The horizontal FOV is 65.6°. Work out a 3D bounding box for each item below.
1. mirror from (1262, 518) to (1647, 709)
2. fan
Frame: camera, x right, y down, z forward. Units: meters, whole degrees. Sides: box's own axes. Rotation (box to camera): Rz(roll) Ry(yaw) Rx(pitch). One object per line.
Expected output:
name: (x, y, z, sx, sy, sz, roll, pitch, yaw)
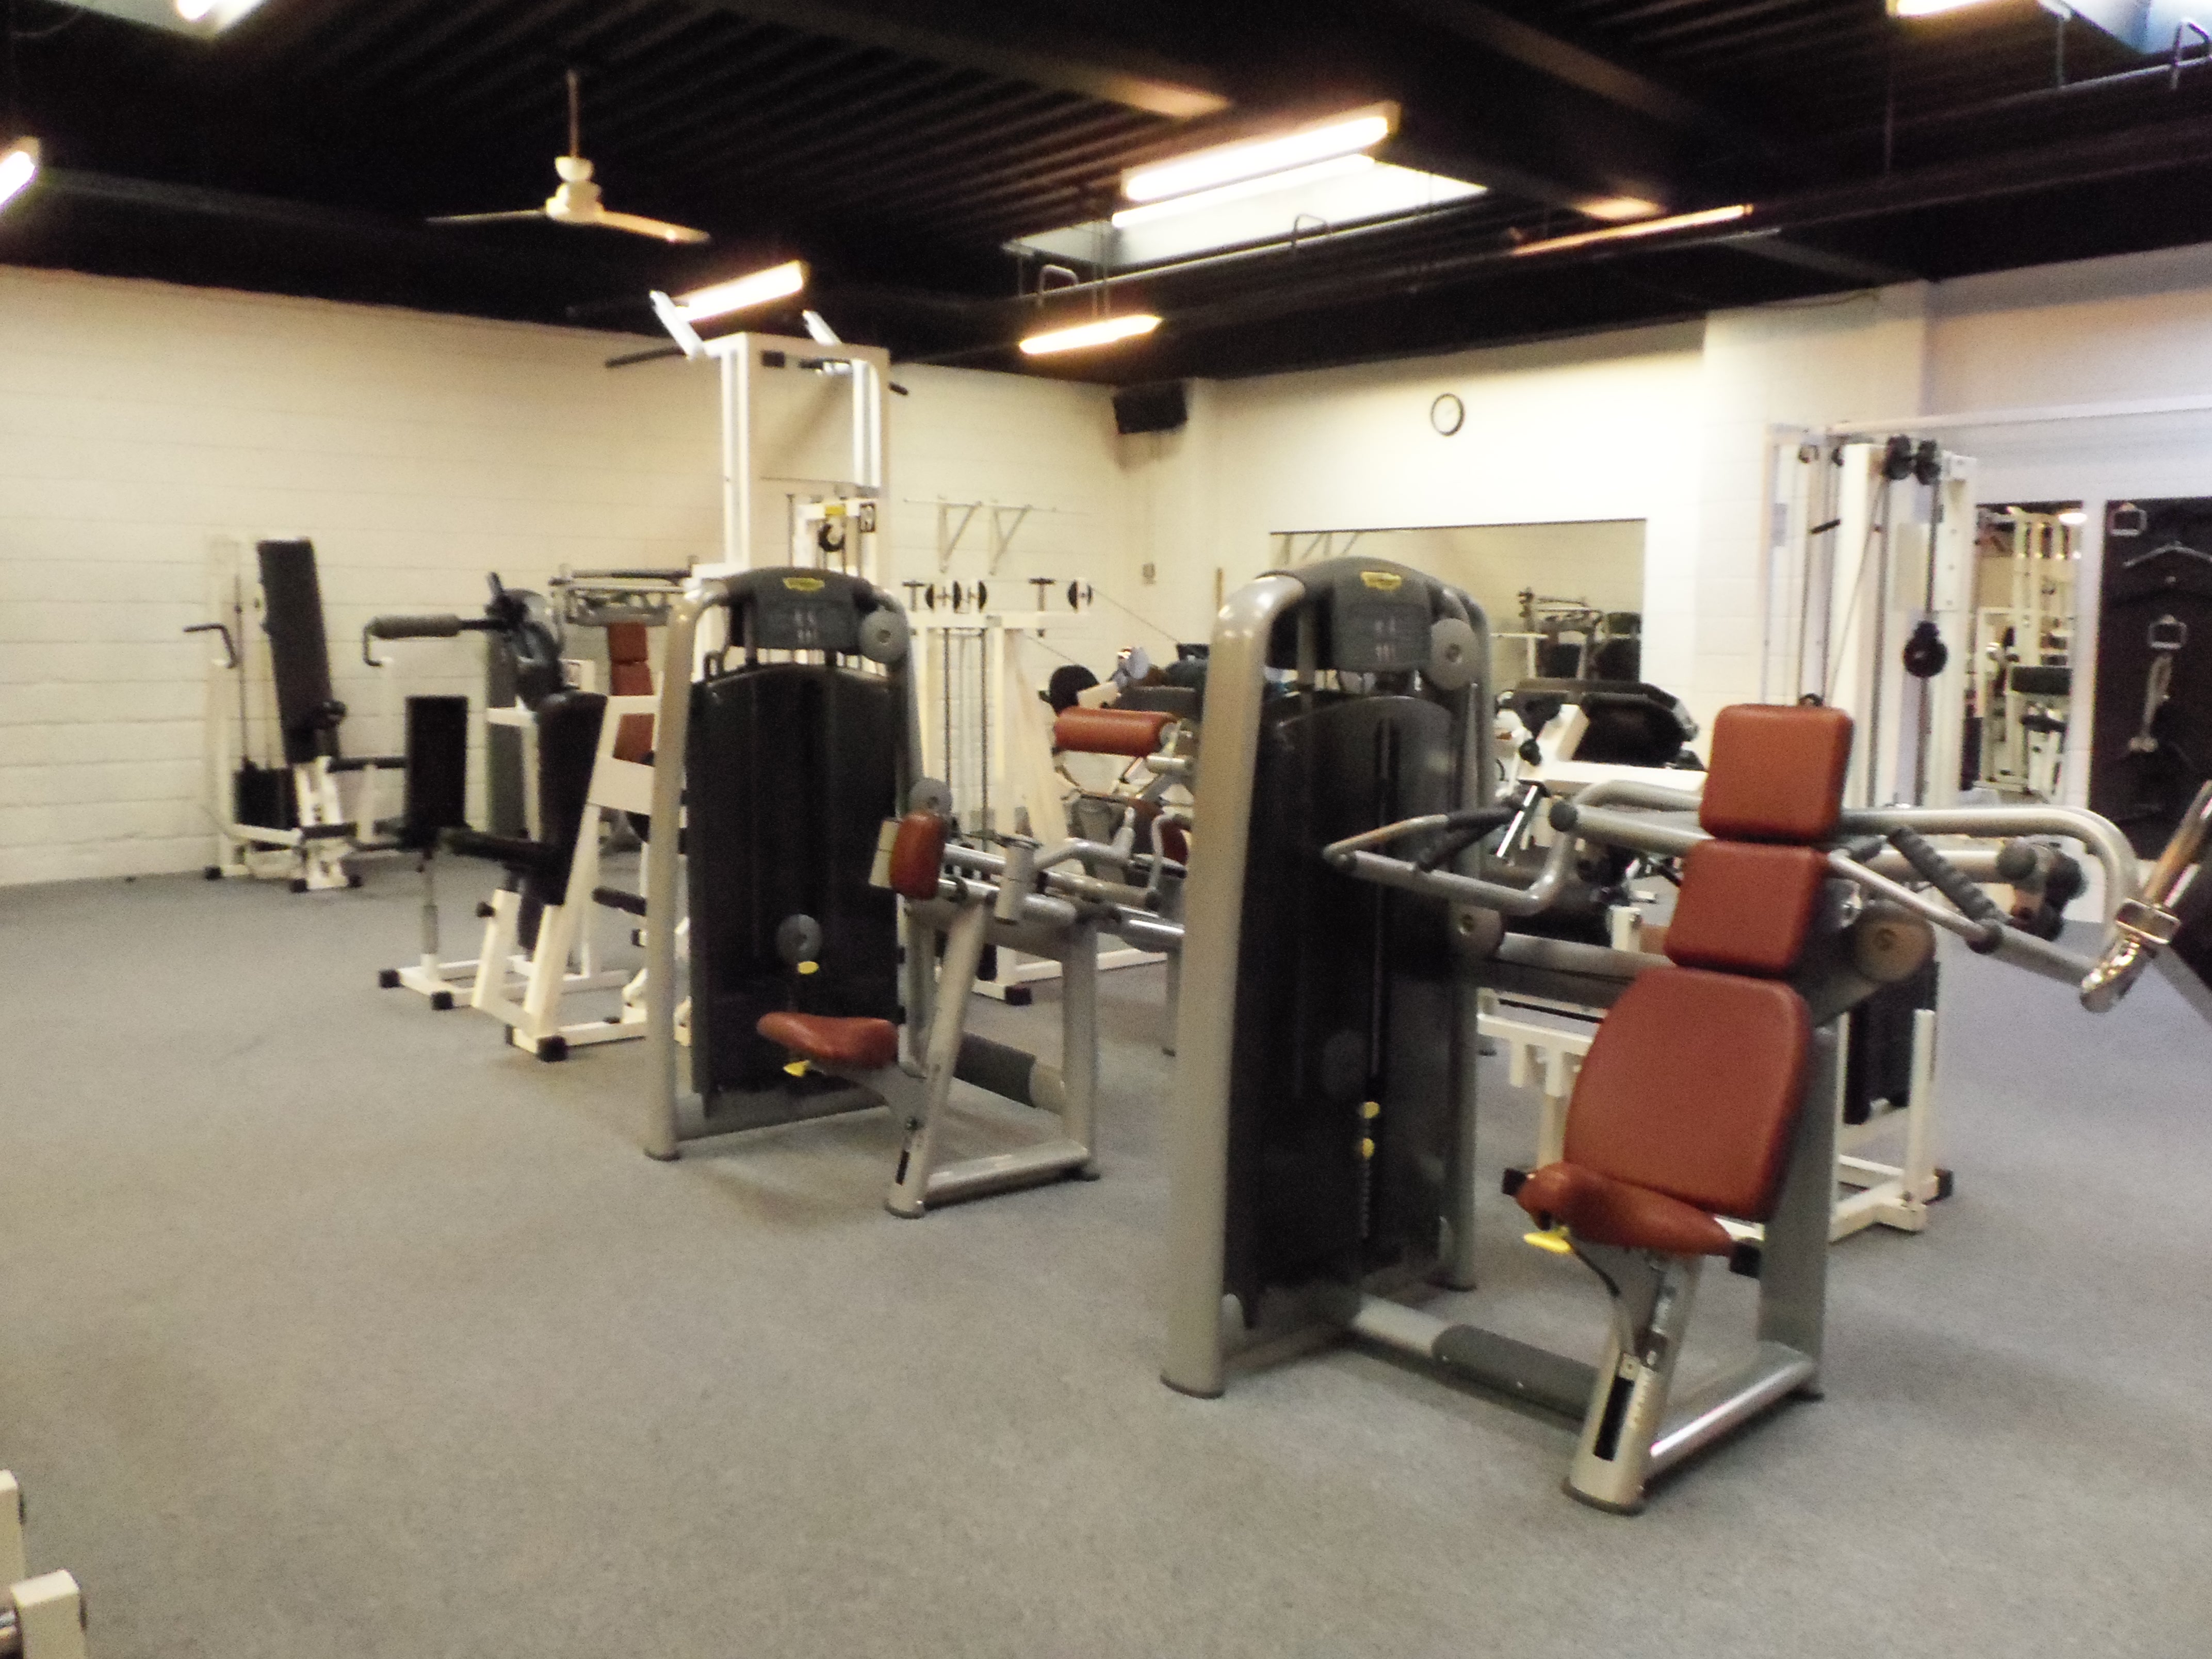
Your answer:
mirror: (2.682, -1.531, 11.289, 0.336, 1.051, 1.947, -10, 16, -35)
fan: (-2.151, -2.806, 7.081, 0.998, 0.724, 0.747, -2, 1, 5)
